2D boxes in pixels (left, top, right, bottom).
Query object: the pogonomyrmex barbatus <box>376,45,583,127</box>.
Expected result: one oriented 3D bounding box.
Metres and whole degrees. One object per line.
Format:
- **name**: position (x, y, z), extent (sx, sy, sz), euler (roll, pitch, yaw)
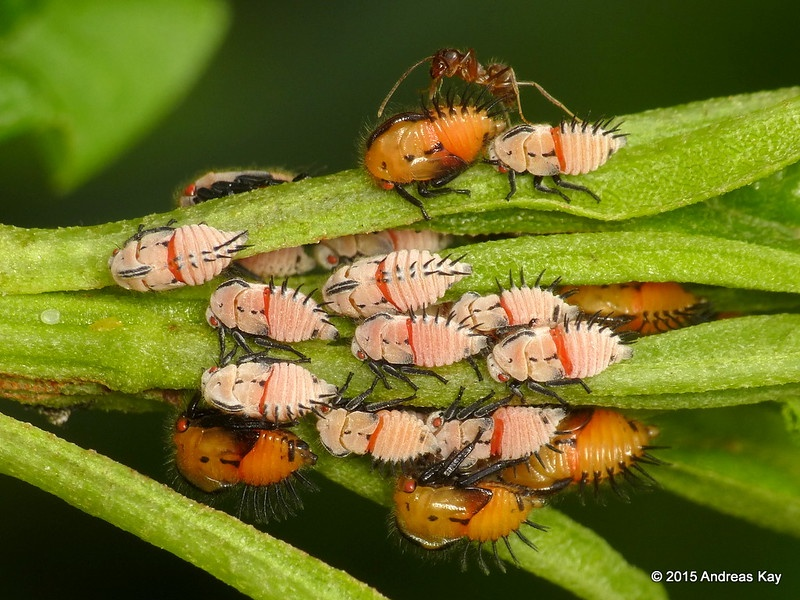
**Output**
- **pogonomyrmex barbatus**: position (0.387, -1.218, 5.003), extent (0.873, 0.888, 0.520), euler (-7, 106, -21)
